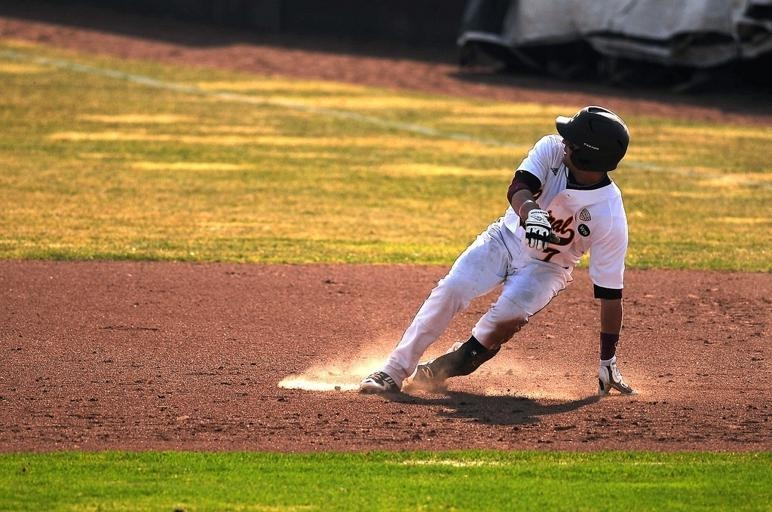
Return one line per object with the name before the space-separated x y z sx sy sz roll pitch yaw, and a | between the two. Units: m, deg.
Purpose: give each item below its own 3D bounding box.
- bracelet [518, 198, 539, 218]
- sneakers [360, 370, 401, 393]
bracelet | 1.545 -0.518 16.588 0.150 0.133 0.228 20 23 -6
sneakers | -0.069 1.447 17.123 0.429 0.168 0.218 4 5 -7
